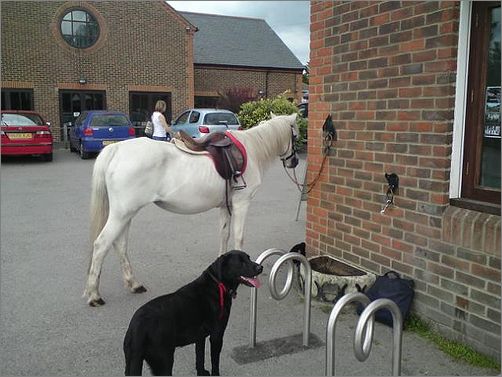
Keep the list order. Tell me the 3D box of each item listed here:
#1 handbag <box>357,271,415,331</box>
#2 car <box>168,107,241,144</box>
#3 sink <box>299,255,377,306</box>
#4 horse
[{"bbox_3d":[1.599,1.302,4.567,0.533,0.533,0.453,12,16,40],"label":"handbag"},{"bbox_3d":[-2.280,-2.527,19.815,2.415,2.285,4.214,-5,20,-27],"label":"car"},{"bbox_3d":[1.076,1.177,5.051,0.776,0.334,0.598,8,3,36],"label":"sink"},{"bbox_3d":[-0.941,-0.192,6.108,1.966,3.047,3.227,-5,14,-34],"label":"horse"}]
